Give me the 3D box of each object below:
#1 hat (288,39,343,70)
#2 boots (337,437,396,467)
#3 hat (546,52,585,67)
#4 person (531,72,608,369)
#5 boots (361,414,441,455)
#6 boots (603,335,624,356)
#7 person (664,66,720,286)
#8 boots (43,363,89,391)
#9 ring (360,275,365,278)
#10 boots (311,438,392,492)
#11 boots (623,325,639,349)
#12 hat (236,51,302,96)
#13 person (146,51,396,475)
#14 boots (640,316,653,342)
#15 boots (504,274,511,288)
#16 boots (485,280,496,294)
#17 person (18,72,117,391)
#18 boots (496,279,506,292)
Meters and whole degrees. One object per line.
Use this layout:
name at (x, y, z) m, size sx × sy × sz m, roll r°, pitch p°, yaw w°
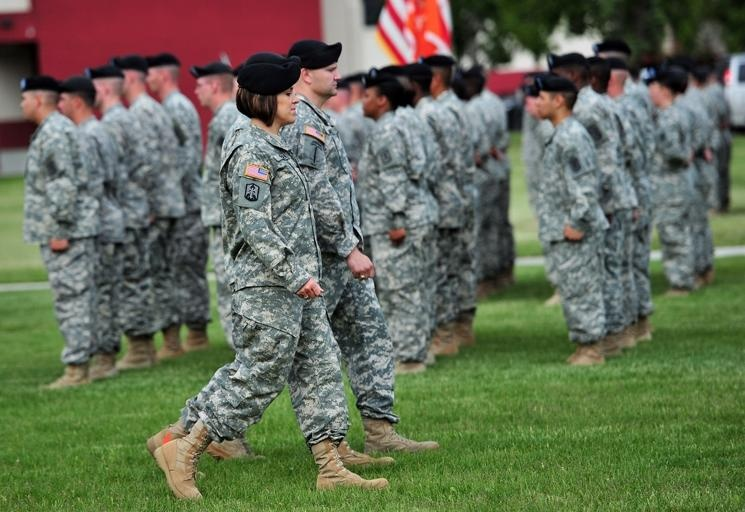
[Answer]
hat at (-0.519, -1.787, 16.469) m, size 0.383 × 0.152 × 0.269 m, roll 0°, pitch 4°, yaw 4°
boots at (-0.128, 1.698, 16.206) m, size 0.613 × 0.256 × 0.192 m, roll -2°, pitch 1°, yaw -5°
hat at (1.834, -1.867, 17.773) m, size 0.256 × 0.105 × 0.169 m, roll -7°, pitch 0°, yaw -3°
person at (1.831, -0.370, 17.397) m, size 0.648 × 2.682 × 0.495 m, roll -3°, pitch 3°, yaw 10°
boots at (0.189, 1.562, 16.485) m, size 0.836 × 0.357 × 0.263 m, roll -2°, pitch -2°, yaw 2°
boots at (2.213, 0.824, 17.352) m, size 0.175 × 0.188 × 0.181 m, roll -3°, pitch -4°, yaw 31°
person at (3.004, -0.616, 17.260) m, size 0.362 × 1.744 × 0.715 m, roll -3°, pitch 3°, yaw 9°
boots at (-2.682, 1.049, 16.303) m, size 0.136 × 0.172 × 0.413 m, roll 4°, pitch 4°, yaw 30°
ring at (-0.092, 0.171, 15.976) m, size 0.028 × 0.007 × 0.025 m, roll 2°, pitch -35°, yaw 1°
boots at (-0.270, 1.782, 15.841) m, size 0.869 × 0.583 × 0.288 m, roll -2°, pitch 2°, yaw -3°
boots at (2.377, 0.739, 17.358) m, size 0.156 × 0.241 × 0.166 m, roll 6°, pitch -9°, yaw -36°
hat at (-0.888, -1.545, 15.684) m, size 0.471 × 0.235 × 0.342 m, roll -2°, pitch 25°, yaw -1°
person at (-0.874, 0.066, 15.805) m, size 1.516 × 3.574 × 0.659 m, roll -3°, pitch 3°, yaw -4°
boots at (2.502, 0.668, 17.281) m, size 0.130 × 0.208 × 0.262 m, roll -3°, pitch 3°, yaw 5°
boots at (1.290, 0.223, 17.994) m, size 0.081 × 0.096 × 0.104 m, roll 1°, pitch -2°, yaw -10°
boots at (1.142, 0.298, 18.236) m, size 0.045 × 0.091 × 0.119 m, roll -24°, pitch -9°, yaw -20°
person at (-2.802, -0.255, 16.695) m, size 0.642 × 2.716 × 1.225 m, roll -4°, pitch 3°, yaw -9°
boots at (1.230, 0.259, 18.063) m, size 0.071 × 0.106 × 0.172 m, roll -3°, pitch 3°, yaw -3°
